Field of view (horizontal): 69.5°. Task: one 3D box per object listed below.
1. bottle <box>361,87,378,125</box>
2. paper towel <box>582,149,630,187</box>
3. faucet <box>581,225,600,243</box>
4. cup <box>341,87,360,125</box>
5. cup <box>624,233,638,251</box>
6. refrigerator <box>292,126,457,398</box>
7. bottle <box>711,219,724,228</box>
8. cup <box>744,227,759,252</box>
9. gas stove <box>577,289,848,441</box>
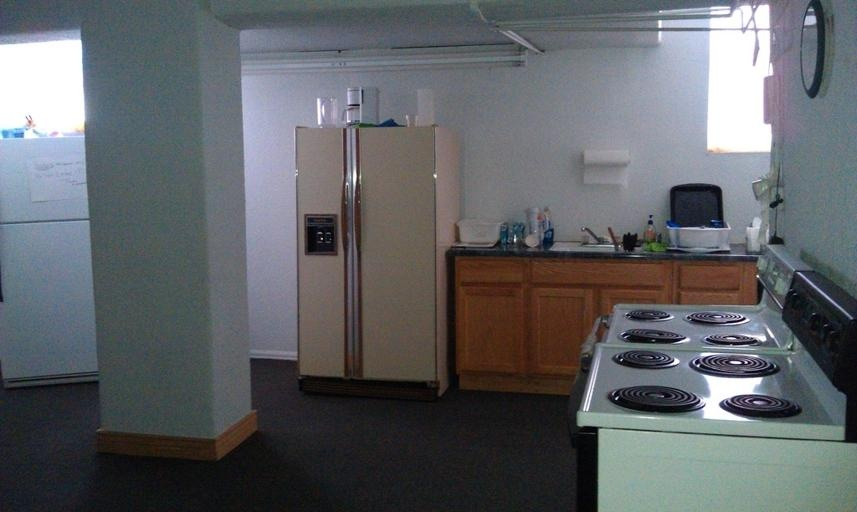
[{"bbox_3d":[-0.537,-1.366,5.573,0.162,0.317,0.105,-4,15,-12],"label":"bottle"},{"bbox_3d":[1.654,-0.822,5.726,0.429,0.328,0.095,1,14,3],"label":"paper towel"},{"bbox_3d":[1.521,-0.205,5.783,0.178,0.156,0.265,2,14,11],"label":"faucet"},{"bbox_3d":[-0.688,-1.356,5.576,0.163,0.322,0.302,-12,18,-35],"label":"cup"},{"bbox_3d":[1.746,-0.118,5.374,0.110,0.140,0.110,-1,15,0],"label":"cup"},{"bbox_3d":[-0.541,0.061,5.391,1.325,2.314,0.507,2,15,11],"label":"refrigerator"},{"bbox_3d":[2.541,-0.299,5.461,0.108,0.095,0.071,-6,37,13],"label":"bottle"},{"bbox_3d":[2.778,-0.141,5.301,0.146,0.223,0.250,0,0,25],"label":"cup"},{"bbox_3d":[1.245,0.469,2.974,1.013,0.216,1.279,3,14,12],"label":"gas stove"}]
